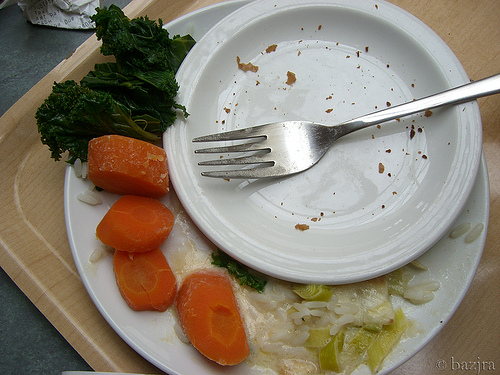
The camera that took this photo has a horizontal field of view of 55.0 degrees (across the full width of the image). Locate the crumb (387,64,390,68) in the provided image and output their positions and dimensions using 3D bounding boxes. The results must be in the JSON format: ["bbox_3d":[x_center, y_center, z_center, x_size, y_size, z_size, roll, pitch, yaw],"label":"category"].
[{"bbox_3d":[0.478,-0.423,1.670,0.009,0.002,0.010,0,79,1],"label":"crumb"}]

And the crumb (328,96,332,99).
[{"bbox_3d":[0.272,-0.309,1.638,0.007,0.002,0.008,-7,80,-1],"label":"crumb"}]

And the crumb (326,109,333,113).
[{"bbox_3d":[0.268,-0.260,1.628,0.020,0.005,0.014,-15,77,-14],"label":"crumb"}]

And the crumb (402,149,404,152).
[{"bbox_3d":[0.507,-0.125,1.599,0.006,0.003,0.008,-1,82,4],"label":"crumb"}]

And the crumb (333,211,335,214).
[{"bbox_3d":[0.271,0.082,1.558,0.006,0.002,0.008,4,72,-9],"label":"crumb"}]

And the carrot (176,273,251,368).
[{"bbox_3d":[-0.121,0.394,1.456,0.181,0.083,0.297,-12,75,-13],"label":"carrot"}]

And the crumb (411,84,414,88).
[{"bbox_3d":[0.556,-0.350,1.648,0.008,0.002,0.012,0,81,16],"label":"crumb"}]

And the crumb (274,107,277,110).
[{"bbox_3d":[0.084,-0.269,1.635,0.007,0.002,0.008,1,85,-3],"label":"crumb"}]

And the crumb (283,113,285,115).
[{"bbox_3d":[0.114,-0.249,1.629,0.007,0.002,0.008,-2,88,1],"label":"crumb"}]

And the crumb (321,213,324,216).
[{"bbox_3d":[0.232,0.088,1.559,0.008,0.002,0.009,-10,84,-2],"label":"crumb"}]

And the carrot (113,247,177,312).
[{"bbox_3d":[-0.325,0.287,1.481,0.188,0.054,0.188,0,73,-10],"label":"carrot"}]

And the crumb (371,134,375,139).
[{"bbox_3d":[0.408,-0.170,1.603,0.010,0.019,0.012,0,81,-7],"label":"crumb"}]

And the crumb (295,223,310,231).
[{"bbox_3d":[0.168,0.127,1.548,0.042,0.018,0.023,-4,96,5],"label":"crumb"}]

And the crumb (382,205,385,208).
[{"bbox_3d":[0.432,0.061,1.561,0.008,0.002,0.008,1,72,-10],"label":"crumb"}]

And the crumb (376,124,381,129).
[{"bbox_3d":[0.430,-0.204,1.609,0.012,0.003,0.013,4,85,-5],"label":"crumb"}]

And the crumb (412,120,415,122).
[{"bbox_3d":[0.547,-0.224,1.613,0.005,0.002,0.007,-10,89,4],"label":"crumb"}]

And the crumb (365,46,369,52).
[{"bbox_3d":[0.409,-0.487,1.687,0.016,0.004,0.018,-1,87,8],"label":"crumb"}]

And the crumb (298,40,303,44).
[{"bbox_3d":[0.176,-0.515,1.698,0.017,0.005,0.004,-29,42,-14],"label":"crumb"}]

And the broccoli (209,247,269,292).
[{"bbox_3d":[-0.053,0.280,1.559,0.247,0.029,0.085,38,55,7],"label":"broccoli"}]

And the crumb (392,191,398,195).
[{"bbox_3d":[0.470,0.018,1.569,0.010,0.003,0.011,-1,86,5],"label":"crumb"}]

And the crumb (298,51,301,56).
[{"bbox_3d":[0.171,-0.471,1.687,0.008,0.004,0.016,9,69,6],"label":"crumb"}]

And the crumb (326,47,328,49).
[{"bbox_3d":[0.269,-0.493,1.692,0.005,0.002,0.006,-3,80,1],"label":"crumb"}]

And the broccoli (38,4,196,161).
[{"bbox_3d":[-0.418,-0.315,1.552,0.452,0.289,0.492,8,71,-7],"label":"broccoli"}]

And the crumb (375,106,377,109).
[{"bbox_3d":[0.426,-0.273,1.631,0.007,0.002,0.008,-3,83,2],"label":"crumb"}]
